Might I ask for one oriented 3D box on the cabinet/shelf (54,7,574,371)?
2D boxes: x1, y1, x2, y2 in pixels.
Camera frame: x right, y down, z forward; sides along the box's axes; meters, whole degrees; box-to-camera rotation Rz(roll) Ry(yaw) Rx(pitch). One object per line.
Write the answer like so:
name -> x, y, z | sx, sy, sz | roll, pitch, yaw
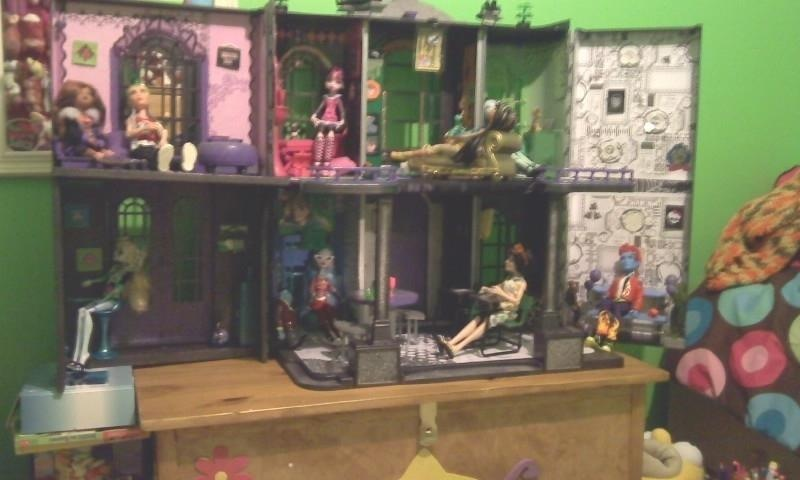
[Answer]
cabinet/shelf -> -0.831, -0.441, 7.349 | 3.153, 2.064, 1.017 | 0, 4, -13
